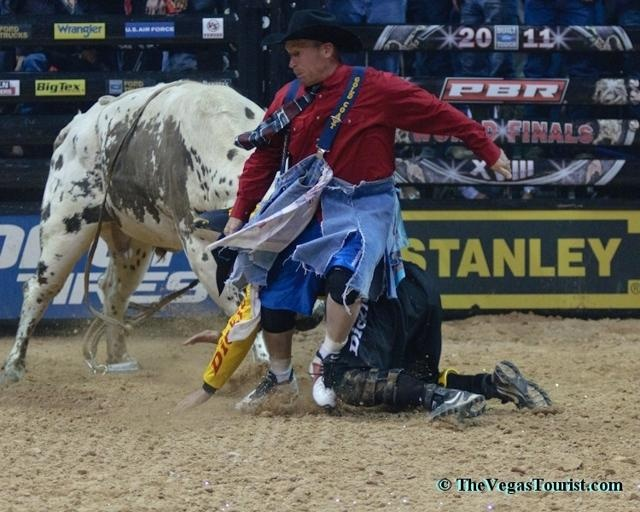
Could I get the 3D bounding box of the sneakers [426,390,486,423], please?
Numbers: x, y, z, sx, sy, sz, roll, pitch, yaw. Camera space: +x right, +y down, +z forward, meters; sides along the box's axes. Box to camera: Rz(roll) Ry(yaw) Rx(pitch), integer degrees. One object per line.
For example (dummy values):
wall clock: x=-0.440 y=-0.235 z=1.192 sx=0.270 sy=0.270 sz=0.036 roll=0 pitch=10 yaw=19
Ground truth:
sneakers: x=0.842 y=0.984 z=10.518 sx=0.410 sy=0.191 sz=0.162 roll=-12 pitch=-17 yaw=24

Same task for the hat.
hat: x=-0.004 y=-1.500 z=10.583 sx=0.523 sy=0.266 sz=0.194 roll=3 pitch=8 yaw=-1

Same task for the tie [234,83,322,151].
tie: x=-0.168 y=-0.907 z=10.697 sx=0.865 sy=0.149 sz=0.234 roll=-35 pitch=2 yaw=6

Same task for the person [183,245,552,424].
person: x=0.400 y=0.528 z=10.835 sx=1.800 sy=0.903 sz=1.105 roll=-4 pitch=-19 yaw=29
